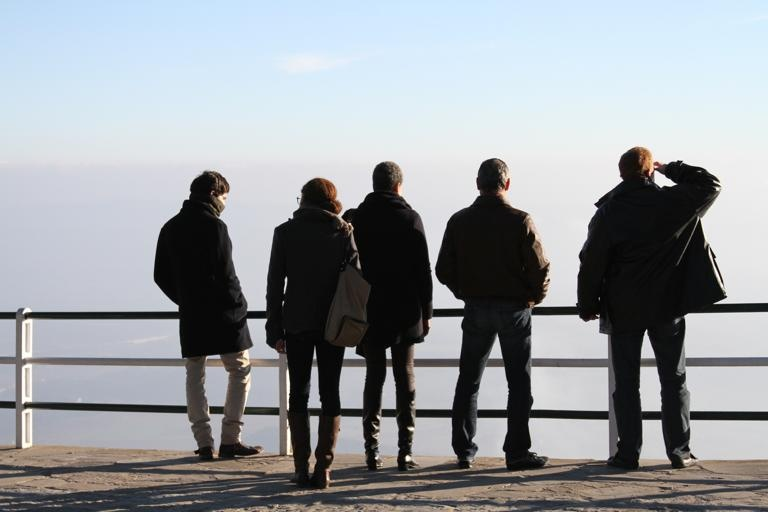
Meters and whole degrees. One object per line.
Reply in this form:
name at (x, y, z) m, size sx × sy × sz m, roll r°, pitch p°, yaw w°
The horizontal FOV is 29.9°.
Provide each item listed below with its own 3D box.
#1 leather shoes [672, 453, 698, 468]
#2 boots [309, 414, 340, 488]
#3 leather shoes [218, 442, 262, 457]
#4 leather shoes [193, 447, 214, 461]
leather shoes at (4.874, 3.321, 23.429) m, size 0.521 × 0.194 × 0.187 m, roll -5°, pitch 6°, yaw -36°
boots at (-0.947, 3.116, 23.163) m, size 0.437 × 1.175 × 0.363 m, roll 2°, pitch -5°, yaw -2°
leather shoes at (-2.436, 3.228, 24.148) m, size 0.781 × 0.258 × 0.248 m, roll -3°, pitch 3°, yaw -7°
leather shoes at (-3.000, 3.265, 23.990) m, size 0.363 × 0.222 × 0.170 m, roll 1°, pitch -5°, yaw 3°
